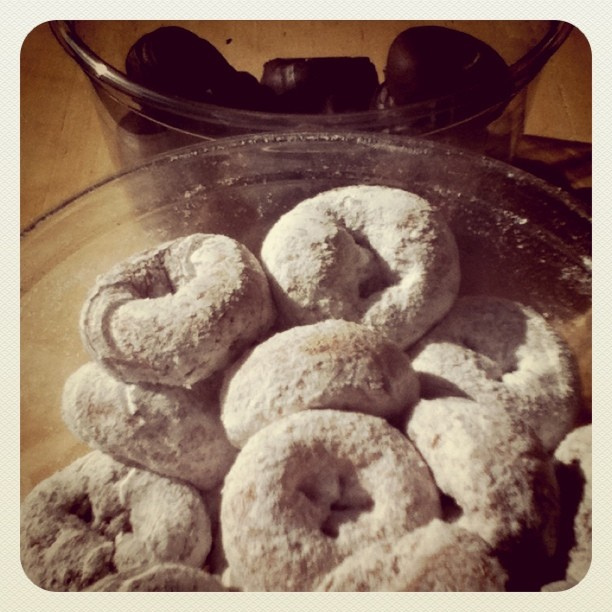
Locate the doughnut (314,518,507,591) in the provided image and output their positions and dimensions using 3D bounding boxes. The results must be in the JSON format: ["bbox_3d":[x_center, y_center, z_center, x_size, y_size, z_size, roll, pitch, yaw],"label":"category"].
[{"bbox_3d":[0.184,0.384,1.724,0.244,0.244,0.080,2,85,-26],"label":"doughnut"}]

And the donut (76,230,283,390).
[{"bbox_3d":[-0.213,0.007,1.739,0.333,0.133,0.228,-24,59,-11],"label":"donut"}]

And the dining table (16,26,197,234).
[{"bbox_3d":[-0.410,-0.284,1.971,0.344,0.458,0.340,-11,80,-8],"label":"dining table"}]

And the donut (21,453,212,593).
[{"bbox_3d":[-0.376,0.420,1.858,0.335,0.441,0.146,8,80,18],"label":"donut"}]

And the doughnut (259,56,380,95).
[{"bbox_3d":[0.024,-0.407,1.796,0.142,0.094,0.041,-1,101,6],"label":"doughnut"}]

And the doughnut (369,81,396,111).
[{"bbox_3d":[0.135,-0.371,1.796,0.045,0.014,0.052,2,91,2],"label":"doughnut"}]

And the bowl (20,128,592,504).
[{"bbox_3d":[0.005,-0.129,1.800,0.702,0.277,0.783,13,64,5],"label":"bowl"}]
